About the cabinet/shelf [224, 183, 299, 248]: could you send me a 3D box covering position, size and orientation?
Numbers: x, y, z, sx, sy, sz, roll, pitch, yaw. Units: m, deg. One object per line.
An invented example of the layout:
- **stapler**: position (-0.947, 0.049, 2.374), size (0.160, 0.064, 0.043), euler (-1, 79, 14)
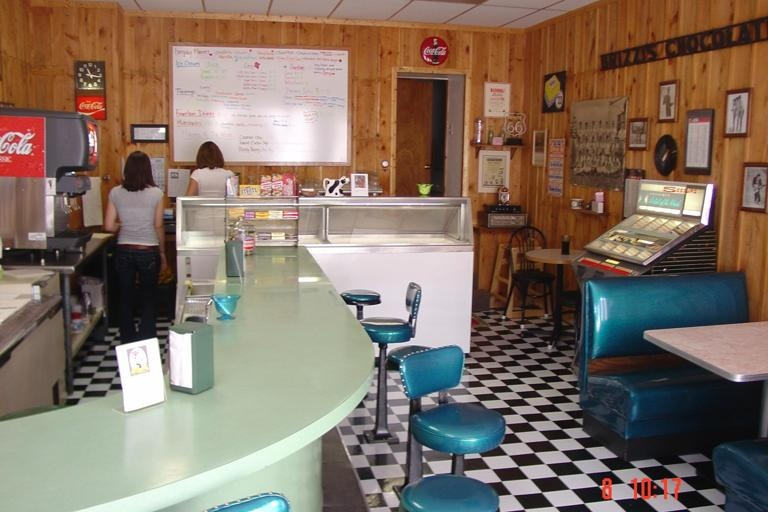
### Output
- **cabinet/shelf**: position (-1.175, -0.378, 5.398), size (0.770, 0.577, 0.239), euler (-1, 16, -8)

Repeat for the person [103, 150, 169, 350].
- **person**: position (-2.492, -0.097, 5.709), size (0.555, 1.911, 0.615), euler (-6, 18, -24)

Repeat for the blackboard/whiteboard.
- **blackboard/whiteboard**: position (-1.711, -2.054, 7.320), size (2.344, 1.265, 0.049), euler (-1, 8, -9)

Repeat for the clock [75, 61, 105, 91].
- **clock**: position (-3.640, -2.268, 6.933), size (0.463, 0.409, 0.059), euler (0, 4, -9)

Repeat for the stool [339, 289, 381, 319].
- **stool**: position (-0.212, 0.377, 4.545), size (0.314, 0.217, 0.284), euler (-2, 7, -22)

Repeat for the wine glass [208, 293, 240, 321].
- **wine glass**: position (-0.932, 0.295, 3.322), size (0.175, 0.096, 0.162), euler (0, 3, 17)

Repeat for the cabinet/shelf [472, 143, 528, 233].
- **cabinet/shelf**: position (1.641, -0.949, 7.801), size (0.616, 1.055, 0.722), euler (1, 16, -1)

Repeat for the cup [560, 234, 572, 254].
- **cup**: position (2.097, -0.137, 6.426), size (0.094, 0.222, 0.188), euler (7, 16, 19)

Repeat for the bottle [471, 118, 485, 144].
- **bottle**: position (1.356, -1.754, 7.832), size (0.206, 0.359, 0.159), euler (-5, 17, -22)
